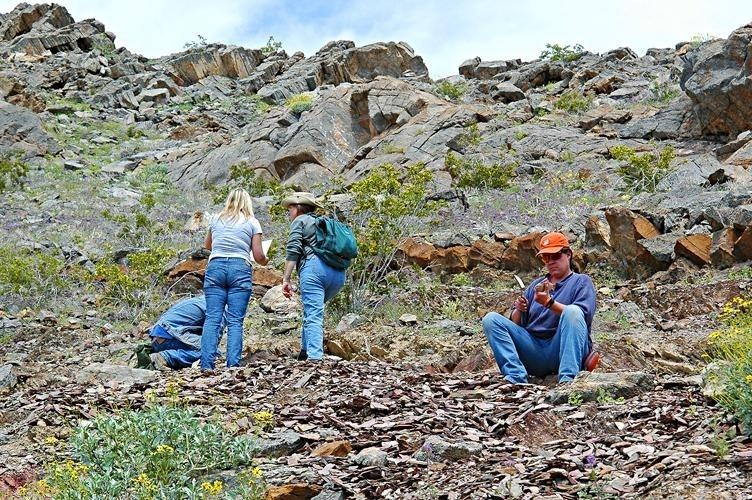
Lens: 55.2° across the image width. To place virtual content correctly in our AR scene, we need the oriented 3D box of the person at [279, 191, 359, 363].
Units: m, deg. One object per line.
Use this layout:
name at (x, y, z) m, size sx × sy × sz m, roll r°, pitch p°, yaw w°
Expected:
person at (-0.721, 0.262, 8.584) m, size 0.808 × 2.147 × 0.653 m, roll 5°, pitch -18°, yaw -37°

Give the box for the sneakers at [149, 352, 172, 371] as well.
sneakers at (-2.583, 1.293, 8.395) m, size 0.217 × 0.214 × 0.185 m, roll -3°, pitch -14°, yaw -13°

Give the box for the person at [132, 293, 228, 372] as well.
person at (-2.407, 0.952, 8.974) m, size 1.426 × 0.673 × 0.941 m, roll -16°, pitch 14°, yaw -31°

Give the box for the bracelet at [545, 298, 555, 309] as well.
bracelet at (1.753, 0.530, 7.236) m, size 0.037 × 0.092 × 0.083 m, roll 33°, pitch -13°, yaw -30°

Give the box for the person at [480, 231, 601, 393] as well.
person at (1.908, 0.730, 8.349) m, size 1.177 × 1.600 × 1.116 m, roll 30°, pitch -32°, yaw -33°

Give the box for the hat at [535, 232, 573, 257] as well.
hat at (1.907, -0.075, 7.480) m, size 0.258 × 0.182 × 0.381 m, roll -14°, pitch -11°, yaw 39°

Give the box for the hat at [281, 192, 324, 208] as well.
hat at (-0.964, -0.635, 8.801) m, size 0.357 × 0.106 × 0.314 m, roll 2°, pitch -6°, yaw -4°

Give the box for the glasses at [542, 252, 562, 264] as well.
glasses at (1.821, 0.069, 7.392) m, size 0.095 × 0.153 × 0.071 m, roll 10°, pitch -32°, yaw 54°

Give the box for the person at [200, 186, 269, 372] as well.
person at (-1.767, 0.289, 8.587) m, size 0.836 × 2.261 × 0.501 m, roll -3°, pitch -14°, yaw -12°
